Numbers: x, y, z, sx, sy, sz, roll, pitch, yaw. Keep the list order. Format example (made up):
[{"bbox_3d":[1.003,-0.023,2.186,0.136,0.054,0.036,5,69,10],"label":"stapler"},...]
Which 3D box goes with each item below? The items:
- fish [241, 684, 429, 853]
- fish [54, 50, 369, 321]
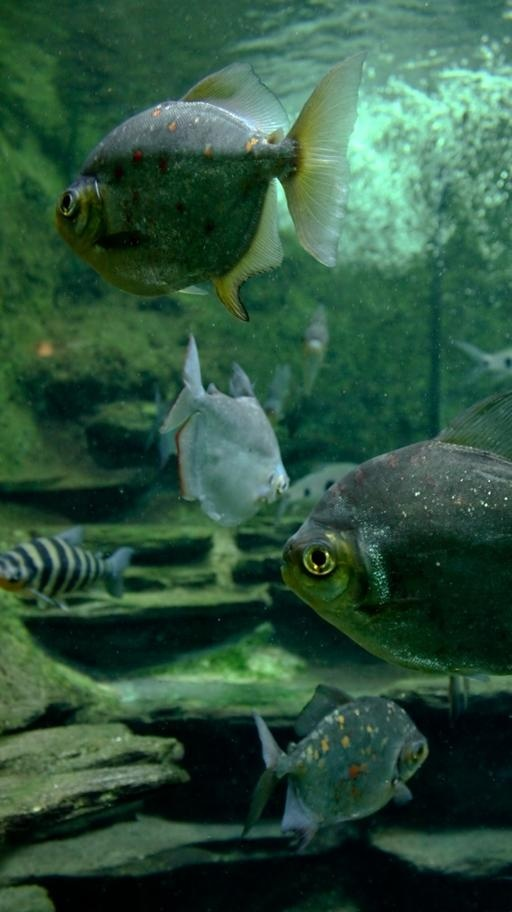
[{"bbox_3d":[0.224,0.838,2.621,0.677,0.404,0.182,0,-7,-39],"label":"fish"},{"bbox_3d":[-0.113,-0.583,2.061,0.626,0.551,0.201,5,27,1],"label":"fish"}]
